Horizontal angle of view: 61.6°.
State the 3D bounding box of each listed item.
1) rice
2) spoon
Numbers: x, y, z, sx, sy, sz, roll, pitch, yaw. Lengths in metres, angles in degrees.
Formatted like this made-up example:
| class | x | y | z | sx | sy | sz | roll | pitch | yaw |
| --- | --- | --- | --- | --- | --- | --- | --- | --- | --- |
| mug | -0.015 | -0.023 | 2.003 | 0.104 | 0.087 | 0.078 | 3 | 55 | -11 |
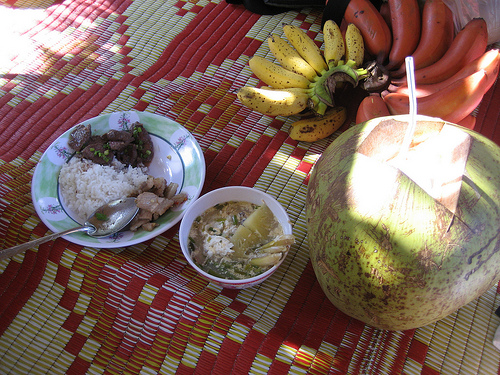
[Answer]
| class | x | y | z | sx | sy | sz | roll | pitch | yaw |
| --- | --- | --- | --- | --- | --- | --- | --- | --- | --- |
| rice | -0.487 | 0.003 | 1.368 | 0.293 | 0.185 | 0.223 | -20 | 37 | -29 |
| spoon | -0.476 | 0.121 | 1.151 | 0.360 | 0.129 | 0.103 | -30 | 79 | -16 |
